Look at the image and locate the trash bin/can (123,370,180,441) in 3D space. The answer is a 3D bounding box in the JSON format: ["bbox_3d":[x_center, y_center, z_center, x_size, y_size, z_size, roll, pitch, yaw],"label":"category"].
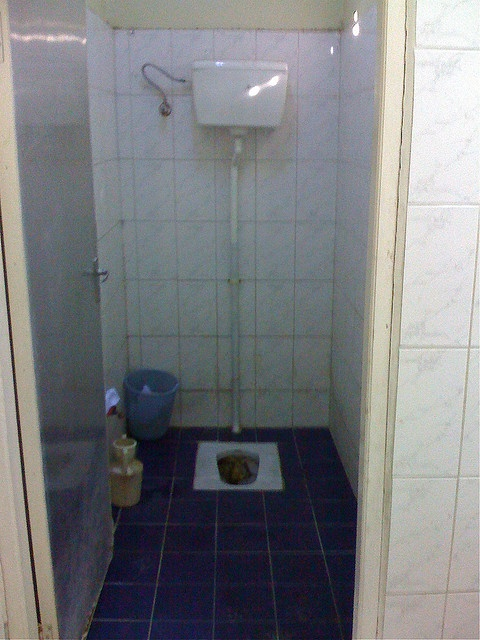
[{"bbox_3d":[-0.442,0.417,2.914,0.262,0.391,0.294,-9,19,-36],"label":"trash bin/can"}]
